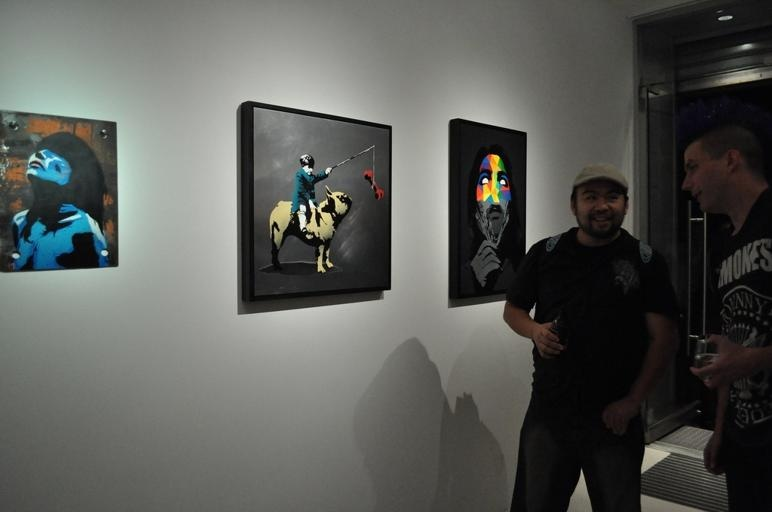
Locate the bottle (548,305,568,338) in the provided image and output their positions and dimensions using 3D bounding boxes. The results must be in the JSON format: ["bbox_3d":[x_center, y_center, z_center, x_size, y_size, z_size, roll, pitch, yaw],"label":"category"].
[{"bbox_3d":[0.844,0.324,2.804,0.070,0.193,0.072,17,-16,5],"label":"bottle"}]

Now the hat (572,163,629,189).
[{"bbox_3d":[1.112,-0.423,3.036,0.314,0.136,0.326,3,1,36],"label":"hat"}]

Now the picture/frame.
[{"bbox_3d":[-0.382,-0.281,2.923,0.985,1.053,0.095,-3,5,-33],"label":"picture/frame"}]
